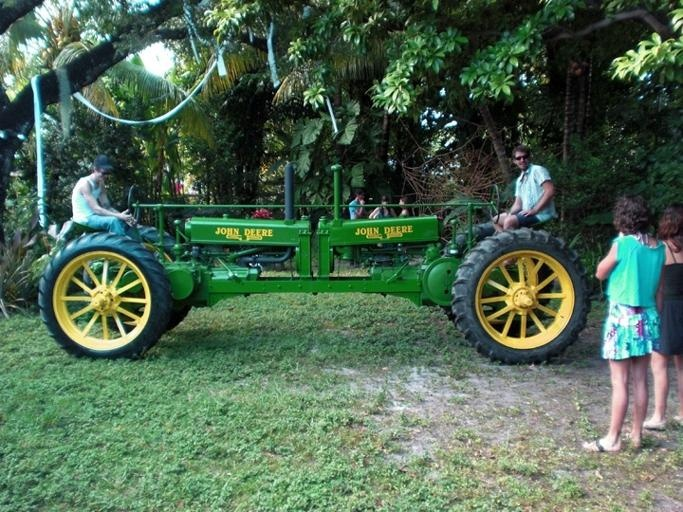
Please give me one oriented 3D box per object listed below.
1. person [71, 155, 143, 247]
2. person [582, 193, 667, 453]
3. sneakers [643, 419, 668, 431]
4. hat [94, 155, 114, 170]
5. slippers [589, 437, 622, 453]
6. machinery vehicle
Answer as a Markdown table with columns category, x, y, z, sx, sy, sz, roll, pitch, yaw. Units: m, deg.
| category | x | y | z | sx | sy | sz | roll | pitch | yaw |
| --- | --- | --- | --- | --- | --- | --- | --- | --- | --- |
| person | -2.536 | -0.486 | 6.707 | 0.684 | 1.156 | 0.465 | 3 | 8 | 5 |
| person | 2.099 | 0.481 | 4.609 | 0.664 | 1.852 | 0.293 | -4 | 3 | -29 |
| sneakers | 2.421 | 1.297 | 4.827 | 0.174 | 0.132 | 0.082 | 3 | -10 | 11 |
| hat | -2.560 | -0.992 | 6.626 | 0.194 | 0.119 | 0.148 | 17 | 20 | 23 |
| slippers | 1.913 | 1.375 | 4.536 | 0.188 | 0.099 | 0.066 | -1 | 47 | 15 |
| machinery vehicle | -0.218 | 0.155 | 6.982 | 5.887 | 2.264 | 2.345 | 0 | 1 | 0 |
